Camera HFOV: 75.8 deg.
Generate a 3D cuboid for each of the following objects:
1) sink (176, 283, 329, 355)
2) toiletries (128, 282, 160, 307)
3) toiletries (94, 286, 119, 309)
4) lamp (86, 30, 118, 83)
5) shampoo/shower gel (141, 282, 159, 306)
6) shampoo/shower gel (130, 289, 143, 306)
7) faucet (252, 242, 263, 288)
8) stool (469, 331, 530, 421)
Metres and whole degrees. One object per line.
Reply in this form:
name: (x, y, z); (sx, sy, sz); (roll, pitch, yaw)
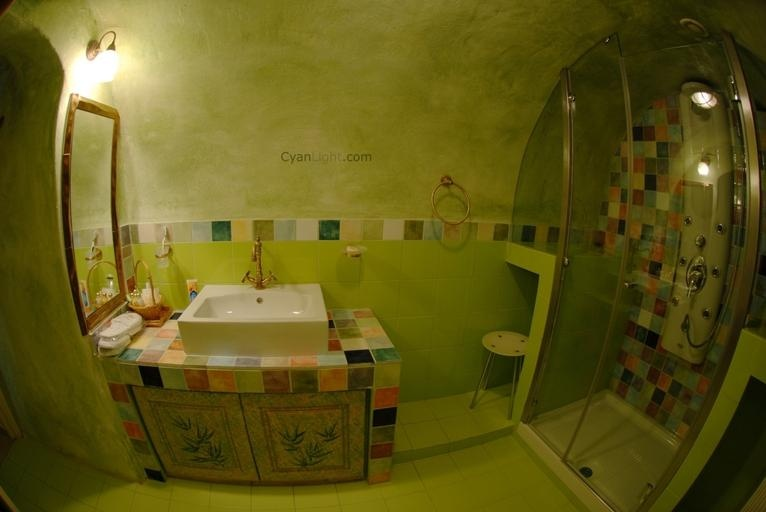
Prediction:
sink: (-0.549, 0.270, 2.201); (0.590, 0.211, 0.446); (-3, 14, -6)
toiletries: (-1.085, 0.173, 2.262); (0.119, 0.118, 0.098); (1, 15, -11)
toiletries: (-1.135, 0.160, 2.010); (0.042, 0.067, 0.068); (7, 9, -23)
lamp: (-0.606, -0.447, 1.079); (0.063, 0.110, 0.048); (2, -13, 2)
shampoo/shower gel: (-1.063, 0.172, 2.263); (0.036, 0.096, 0.096); (5, 15, 12)
shampoo/shower gel: (-1.125, 0.187, 2.239); (0.057, 0.061, 0.045); (-9, 16, -26)
faucet: (-0.590, 0.029, 2.331); (0.047, 0.239, 0.096); (-5, 15, -11)
stool: (0.634, 0.591, 2.586); (0.251, 0.280, 0.241); (3, 23, 19)
